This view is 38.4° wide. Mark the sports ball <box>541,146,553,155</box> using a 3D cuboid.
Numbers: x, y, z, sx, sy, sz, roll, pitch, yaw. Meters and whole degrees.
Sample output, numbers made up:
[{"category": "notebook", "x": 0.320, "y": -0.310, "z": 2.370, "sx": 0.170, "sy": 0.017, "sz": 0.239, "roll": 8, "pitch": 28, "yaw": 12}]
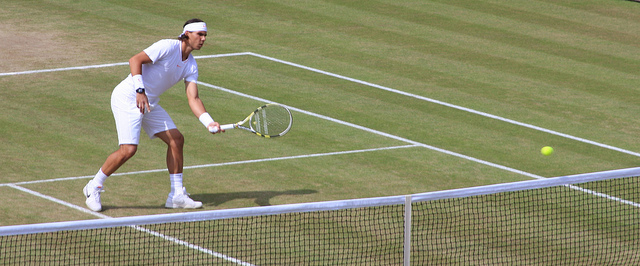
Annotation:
[{"category": "sports ball", "x": 6.703, "y": 0.531, "z": 27.357, "sx": 0.474, "sy": 0.278, "sz": 0.205, "roll": -1, "pitch": 73, "yaw": -3}]

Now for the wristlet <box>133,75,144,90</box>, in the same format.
[{"category": "wristlet", "x": -4.808, "y": -1.357, "z": 24.336, "sx": 0.297, "sy": 0.375, "sz": 0.311, "roll": 5, "pitch": 31, "yaw": -23}]
